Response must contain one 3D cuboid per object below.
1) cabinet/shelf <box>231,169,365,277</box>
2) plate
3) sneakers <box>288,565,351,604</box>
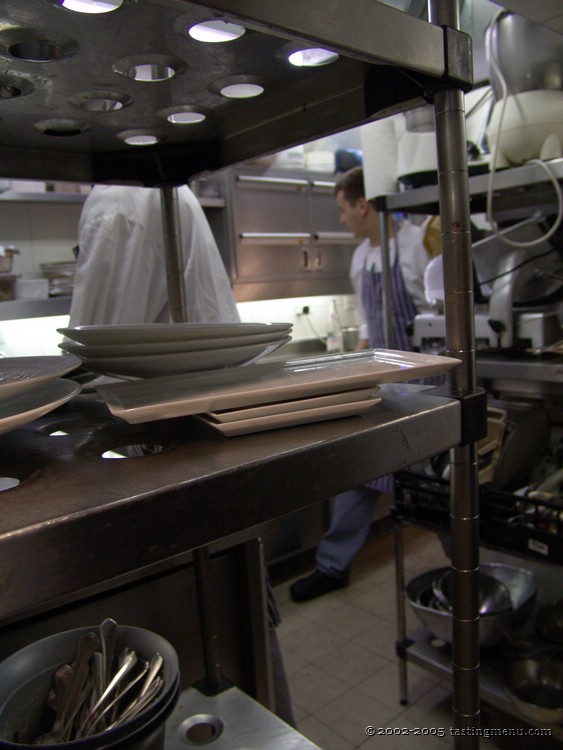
[{"bbox_3d":[0.066,-0.998,3.753,0.901,0.735,0.310,-11,12,-42],"label":"cabinet/shelf"},{"bbox_3d":[-0.003,0.003,0.483,0.310,0.032,0.183,-4,9,-29],"label":"plate"},{"bbox_3d":[0.155,0.908,2.538,0.311,0.117,0.100,-6,5,-28],"label":"sneakers"}]
